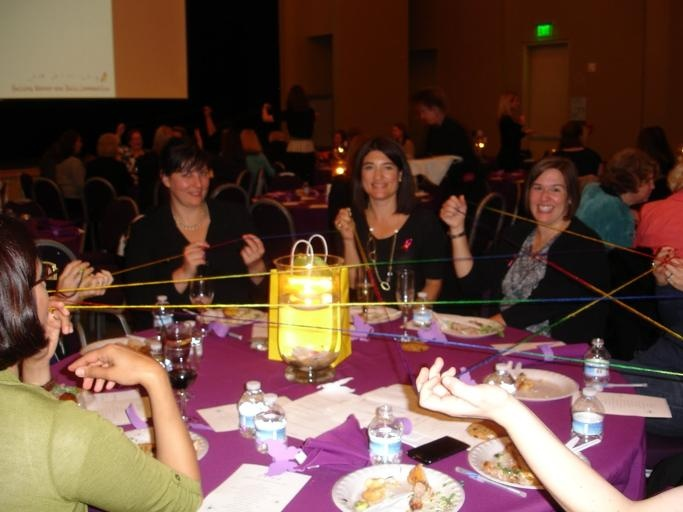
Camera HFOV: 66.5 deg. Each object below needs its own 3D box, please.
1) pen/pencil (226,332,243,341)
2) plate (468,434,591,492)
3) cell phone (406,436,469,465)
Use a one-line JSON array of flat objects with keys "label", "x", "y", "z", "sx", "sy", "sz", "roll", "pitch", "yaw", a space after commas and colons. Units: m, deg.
[{"label": "pen/pencil", "x": -0.460, "y": 0.350, "z": 2.324, "sx": 0.028, "sy": 0.021, "sz": 0.093, "roll": -28, "pitch": 21, "yaw": -36}, {"label": "plate", "x": 0.448, "y": 0.567, "z": 1.413, "sx": 0.231, "sy": 0.025, "sz": 0.227, "roll": -7, "pitch": 12, "yaw": -21}, {"label": "cell phone", "x": 0.276, "y": 0.557, "z": 1.483, "sx": 0.094, "sy": 0.018, "sz": 0.169, "roll": 3, "pitch": 12, "yaw": 44}]
